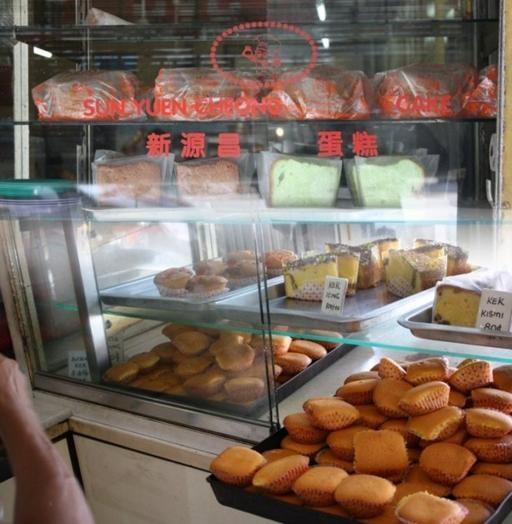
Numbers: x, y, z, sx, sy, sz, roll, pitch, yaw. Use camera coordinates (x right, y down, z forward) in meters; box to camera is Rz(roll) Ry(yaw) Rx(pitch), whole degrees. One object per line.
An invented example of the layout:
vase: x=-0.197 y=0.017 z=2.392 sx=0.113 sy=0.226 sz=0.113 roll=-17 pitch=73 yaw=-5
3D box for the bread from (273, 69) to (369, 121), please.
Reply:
bread: x=0.149 y=-0.369 z=1.054 sx=0.172 sy=0.051 sz=0.115 roll=1 pitch=48 yaw=2

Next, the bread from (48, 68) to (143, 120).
bread: x=-0.404 y=-0.418 z=1.194 sx=0.226 sy=0.116 sz=0.077 roll=-1 pitch=8 yaw=19

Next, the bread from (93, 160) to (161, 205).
bread: x=-0.322 y=-0.202 z=1.209 sx=0.173 sy=0.106 sz=0.038 roll=1 pitch=9 yaw=11

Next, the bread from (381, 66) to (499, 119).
bread: x=0.402 y=-0.372 z=1.086 sx=0.229 sy=0.077 sz=0.128 roll=-1 pitch=49 yaw=-1
